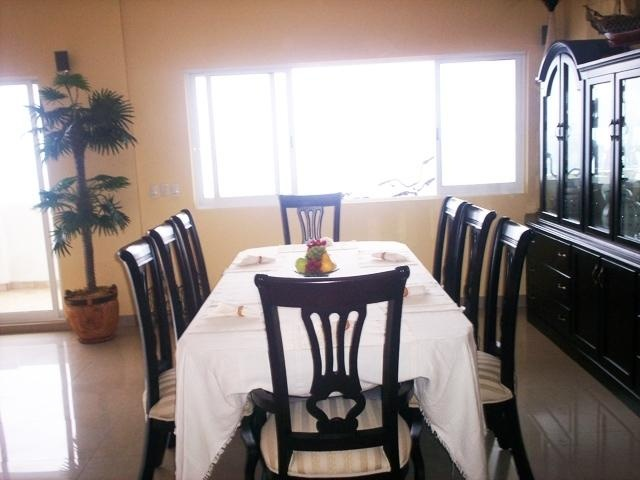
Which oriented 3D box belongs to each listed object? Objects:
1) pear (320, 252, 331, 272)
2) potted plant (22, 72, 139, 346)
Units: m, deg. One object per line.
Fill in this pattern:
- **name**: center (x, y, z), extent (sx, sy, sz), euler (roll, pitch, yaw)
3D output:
- **pear**: center (0.029, 0.131, 2.948), extent (0.067, 0.110, 0.057), euler (-12, 25, -13)
- **potted plant**: center (-2.000, -0.311, 4.629), extent (0.863, 2.355, 0.733), euler (-5, 12, -8)
